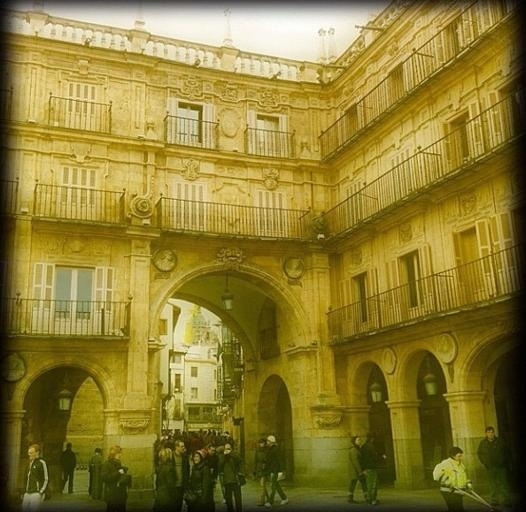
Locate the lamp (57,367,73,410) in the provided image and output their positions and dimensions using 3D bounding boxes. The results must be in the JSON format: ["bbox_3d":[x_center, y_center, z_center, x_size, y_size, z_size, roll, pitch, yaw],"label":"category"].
[{"bbox_3d":[-6.171,4.221,18.359,0.474,1.224,0.477,-7,-12,22],"label":"lamp"}]

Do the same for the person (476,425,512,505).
[{"bbox_3d":[4.947,4.502,12.581,0.566,1.596,0.460,12,-20,-36],"label":"person"}]
